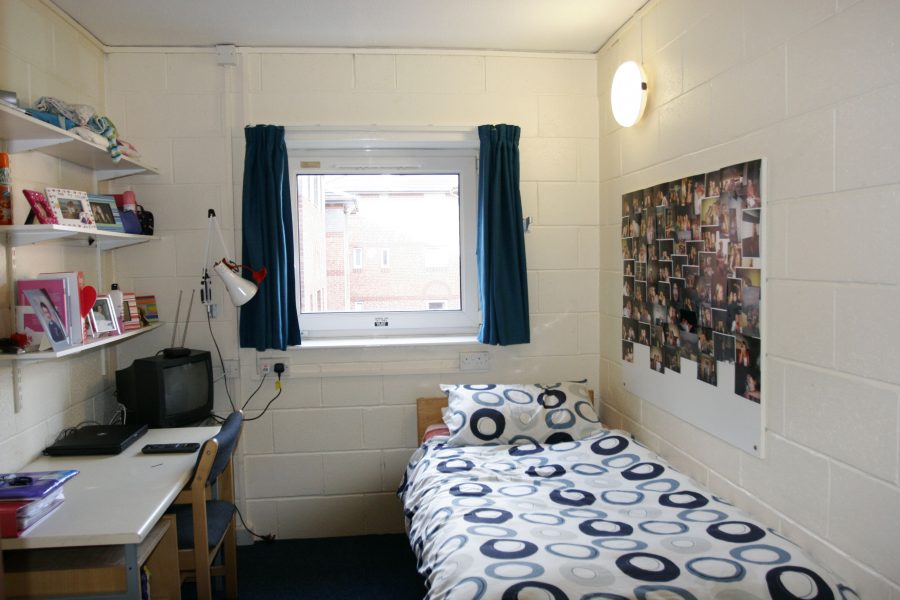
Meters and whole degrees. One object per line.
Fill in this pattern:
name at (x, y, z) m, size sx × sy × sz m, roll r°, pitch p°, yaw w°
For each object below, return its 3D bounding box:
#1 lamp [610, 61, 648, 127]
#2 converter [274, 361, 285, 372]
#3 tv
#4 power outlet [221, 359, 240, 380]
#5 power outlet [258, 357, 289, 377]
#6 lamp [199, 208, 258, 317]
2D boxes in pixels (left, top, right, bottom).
lamp at (0.982, -1.131, 3.338) m, size 0.103 × 0.342 × 0.222 m, roll -4°, pitch 6°, yaw -17°
converter at (-1.016, 0.400, 3.640) m, size 0.060 × 0.047 × 0.049 m, roll -1°, pitch -4°, yaw 2°
tv at (-1.524, 0.459, 3.491) m, size 0.468 × 0.472 × 0.412 m, roll 2°, pitch 6°, yaw 17°
power outlet at (-1.305, 0.411, 3.638) m, size 0.115 × 0.106 × 0.028 m, roll 4°, pitch 0°, yaw -5°
power outlet at (-1.062, 0.382, 3.654) m, size 0.189 × 0.129 × 0.097 m, roll 0°, pitch -1°, yaw -7°
lamp at (-1.268, -0.227, 3.502) m, size 0.290 × 0.600 × 0.397 m, roll -6°, pitch 7°, yaw -28°
